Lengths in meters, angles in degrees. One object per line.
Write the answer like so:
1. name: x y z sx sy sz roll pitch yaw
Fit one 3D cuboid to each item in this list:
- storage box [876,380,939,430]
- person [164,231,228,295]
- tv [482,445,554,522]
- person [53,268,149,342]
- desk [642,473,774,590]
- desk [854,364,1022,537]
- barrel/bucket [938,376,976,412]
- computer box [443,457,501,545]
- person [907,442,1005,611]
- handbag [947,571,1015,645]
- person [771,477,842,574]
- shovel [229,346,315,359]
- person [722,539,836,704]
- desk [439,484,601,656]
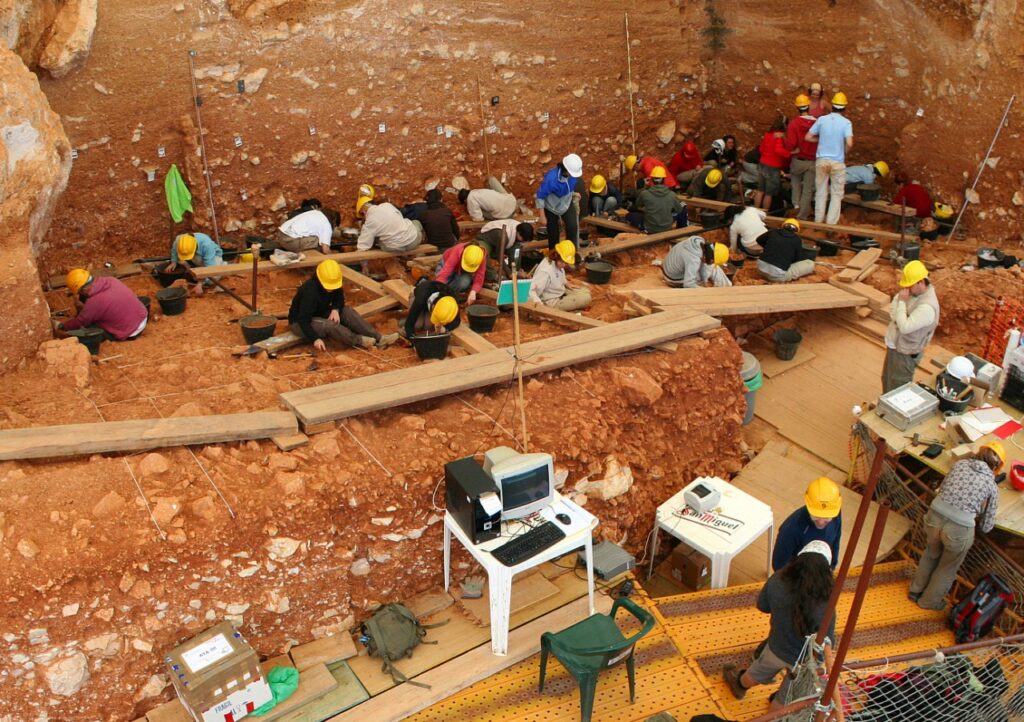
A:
1. storage box: 4.609 0.503 7.799 0.609 0.186 0.427 -21 45 -19
2. person: -4.735 -1.601 9.948 0.658 0.625 0.800 21 38 8
3. tv: -0.114 1.096 6.186 0.646 0.484 0.714 -17 24 -41
4. person: -5.072 -0.675 8.285 1.105 0.799 0.767 10 33 14
5. desk: 2.152 1.965 7.486 1.250 0.768 1.447 17 27 36
6. desk: 4.686 0.999 7.240 2.032 1.448 1.225 5 27 6
7. barrel/bucket: 5.173 0.344 7.809 0.383 0.174 0.421 0 36 0
8. computer box: -0.344 1.235 5.935 0.380 0.521 0.599 -21 38 -24
9. person: 4.530 1.698 6.780 0.654 1.685 0.853 23 19 35
10. handbag: 4.626 2.411 6.541 0.805 0.245 0.485 -42 65 5
11. person: 2.583 1.435 5.897 0.576 0.854 0.567 9 20 15
12. shovel: -2.935 -0.143 8.051 0.874 0.083 0.190 -9 33 -31
13. person: 2.245 2.291 5.630 0.554 1.675 0.518 -32 45 -33
14. desk: 0.135 1.890 6.549 1.546 1.281 1.439 -24 47 -25
